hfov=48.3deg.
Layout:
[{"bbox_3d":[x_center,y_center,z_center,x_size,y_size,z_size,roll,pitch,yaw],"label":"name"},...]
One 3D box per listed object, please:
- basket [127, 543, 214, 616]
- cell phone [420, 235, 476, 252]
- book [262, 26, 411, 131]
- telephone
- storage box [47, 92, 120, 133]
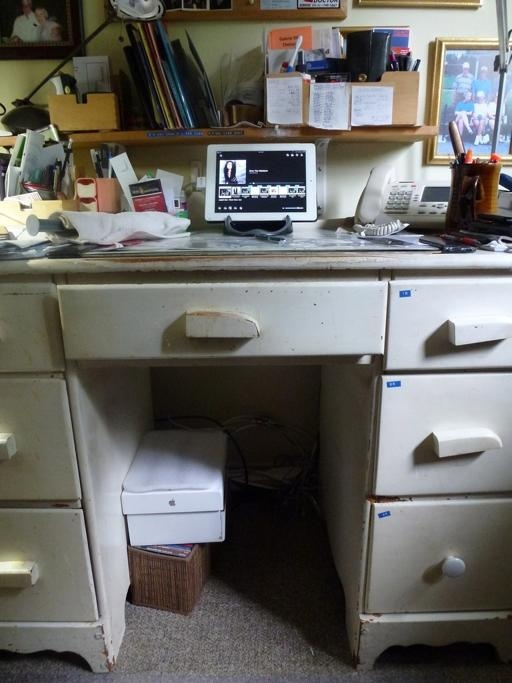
[{"bbox_3d":[-0.200,0.520,1.308,0.151,0.127,0.153,2,6,17],"label":"basket"},{"bbox_3d":[0.329,-0.165,0.972,0.065,0.012,0.112,-8,25,-14],"label":"cell phone"},{"bbox_3d":[0.199,-0.567,1.348,0.352,0.128,0.045,0,29,4],"label":"book"},{"bbox_3d":[0.325,-0.314,1.278,0.200,0.116,0.147,9,43,27],"label":"telephone"},{"bbox_3d":[-0.417,-0.546,1.363,0.159,0.083,0.028,1,29,5],"label":"storage box"}]
